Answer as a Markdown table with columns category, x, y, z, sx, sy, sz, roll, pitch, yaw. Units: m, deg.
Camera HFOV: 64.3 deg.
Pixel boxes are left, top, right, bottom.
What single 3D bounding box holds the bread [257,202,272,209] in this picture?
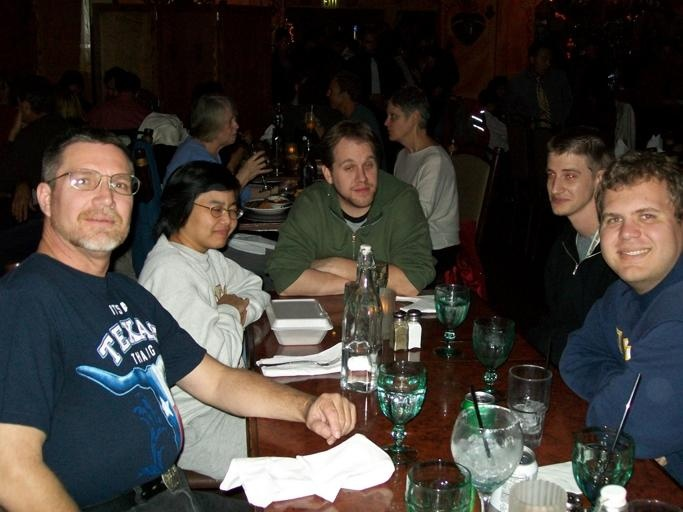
| category | x | y | z | sx | sy | sz | roll | pitch | yaw |
| --- | --- | --- | --- | --- | --- | --- | --- | --- | --- |
| bread | -0.593 | -0.386 | 4.139 | 0.086 | 0.024 | 0.082 | -5 | 31 | 10 |

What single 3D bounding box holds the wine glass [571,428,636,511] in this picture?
| category | x | y | z | sx | sy | sz | roll | pitch | yaw |
| --- | --- | --- | --- | --- | --- | --- | --- | --- | --- |
| wine glass | 0.596 | 0.466 | 1.247 | 0.150 | 0.181 | 0.162 | -1 | 5 | 4 |

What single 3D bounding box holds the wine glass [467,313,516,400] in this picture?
| category | x | y | z | sx | sy | sz | roll | pitch | yaw |
| --- | --- | --- | --- | --- | --- | --- | --- | --- | --- |
| wine glass | 0.479 | 0.327 | 1.864 | 0.204 | 0.320 | 0.192 | -4 | 14 | 12 |

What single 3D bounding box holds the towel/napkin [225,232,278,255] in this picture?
| category | x | y | z | sx | sy | sz | roll | pitch | yaw |
| --- | --- | --- | --- | --- | --- | --- | --- | --- | --- |
| towel/napkin | -0.624 | -0.084 | 3.782 | 0.270 | 0.083 | 0.200 | 6 | 13 | -11 |

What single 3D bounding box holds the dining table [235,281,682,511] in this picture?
| category | x | y | z | sx | sy | sz | roll | pitch | yaw |
| --- | --- | --- | --- | --- | --- | --- | --- | --- | --- |
| dining table | 0.326 | 0.409 | 1.593 | 0.547 | 0.225 | 0.909 | -3 | 30 | -7 |

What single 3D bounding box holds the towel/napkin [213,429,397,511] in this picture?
| category | x | y | z | sx | sy | sz | roll | pitch | yaw |
| --- | --- | --- | --- | --- | --- | --- | --- | --- | --- |
| towel/napkin | -0.086 | 0.532 | 1.334 | 0.328 | 0.054 | 0.186 | -4 | 14 | -14 |

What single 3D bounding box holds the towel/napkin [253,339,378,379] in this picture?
| category | x | y | z | sx | sy | sz | roll | pitch | yaw |
| --- | --- | --- | --- | --- | --- | --- | --- | --- | --- |
| towel/napkin | -0.130 | 0.362 | 1.865 | 0.248 | 0.076 | 0.188 | 0 | 17 | -9 |
